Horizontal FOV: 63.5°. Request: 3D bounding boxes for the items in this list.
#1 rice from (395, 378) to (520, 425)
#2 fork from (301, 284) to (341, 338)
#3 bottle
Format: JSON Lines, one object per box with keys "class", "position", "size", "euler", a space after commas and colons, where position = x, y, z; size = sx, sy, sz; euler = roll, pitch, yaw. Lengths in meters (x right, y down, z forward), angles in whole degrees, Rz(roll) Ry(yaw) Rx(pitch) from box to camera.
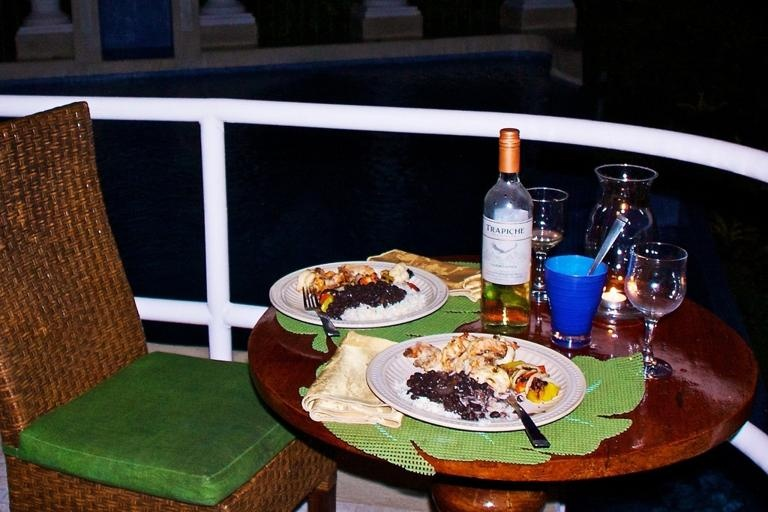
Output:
{"class": "rice", "position": [0.112, 0.208, 0.932], "size": [0.167, 0.034, 0.063], "euler": [11, 24, 21]}
{"class": "fork", "position": [-0.123, 0.103, 1.167], "size": [0.035, 0.026, 0.178], "euler": [-16, 29, -14]}
{"class": "bottle", "position": [0.201, -0.031, 1.095], "size": [0.101, 0.377, 0.098], "euler": [2, 19, -1]}
